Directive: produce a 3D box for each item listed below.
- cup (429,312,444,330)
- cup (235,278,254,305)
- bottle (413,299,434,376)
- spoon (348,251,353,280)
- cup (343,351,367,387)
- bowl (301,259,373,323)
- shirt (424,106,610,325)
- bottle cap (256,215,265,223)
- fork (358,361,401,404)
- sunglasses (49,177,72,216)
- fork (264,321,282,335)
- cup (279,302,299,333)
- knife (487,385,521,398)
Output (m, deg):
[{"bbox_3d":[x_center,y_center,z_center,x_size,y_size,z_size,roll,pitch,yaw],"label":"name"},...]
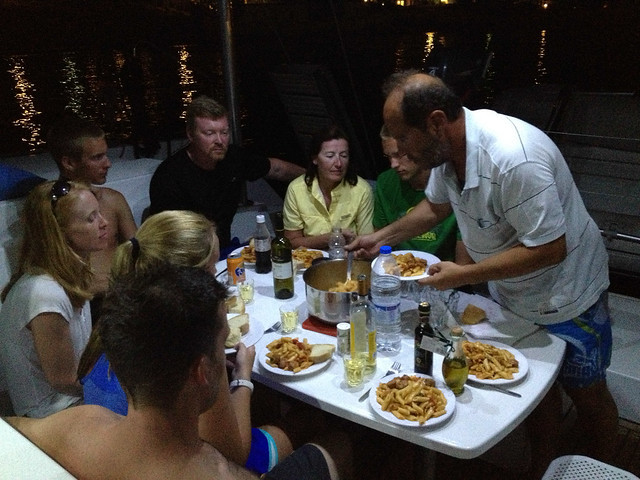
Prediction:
[{"bbox_3d":[0.507,0.346,1.845,0.075,0.032,0.088,3,54,4],"label":"cup"},{"bbox_3d":[-0.363,0.267,2.191,0.118,0.126,0.117,-2,10,0],"label":"cup"},{"bbox_3d":[0.383,0.362,1.568,0.079,0.325,0.157,2,24,12],"label":"bottle"},{"bbox_3d":[0.143,0.127,2.014,0.024,0.113,0.017,1,-7,1],"label":"spoon"},{"bbox_3d":[0.130,0.480,1.590,0.082,0.123,0.071,-2,24,3],"label":"cup"},{"bbox_3d":[0.070,0.221,1.945,0.214,0.136,0.357,-10,19,-22],"label":"bowl"},{"bbox_3d":[0.929,-0.117,2.013,0.583,0.937,0.856,-18,17,-2],"label":"shirt"},{"bbox_3d":[-0.317,-0.116,2.280,0.039,0.033,0.038,-26,33,-32],"label":"bottle cap"},{"bbox_3d":[0.210,0.524,1.547,0.192,0.027,0.026,-35,49,-19],"label":"fork"},{"bbox_3d":[-1.144,-0.198,1.904,0.043,0.129,0.124,13,31,-10],"label":"sunglasses"},{"bbox_3d":[-0.207,0.400,1.921,0.115,0.016,0.016,-28,68,-40],"label":"fork"},{"bbox_3d":[-0.117,0.356,1.902,0.114,0.122,0.113,-4,-6,0],"label":"cup"},{"bbox_3d":[0.650,0.545,1.524,0.088,0.012,0.012,17,42,34],"label":"knife"}]
